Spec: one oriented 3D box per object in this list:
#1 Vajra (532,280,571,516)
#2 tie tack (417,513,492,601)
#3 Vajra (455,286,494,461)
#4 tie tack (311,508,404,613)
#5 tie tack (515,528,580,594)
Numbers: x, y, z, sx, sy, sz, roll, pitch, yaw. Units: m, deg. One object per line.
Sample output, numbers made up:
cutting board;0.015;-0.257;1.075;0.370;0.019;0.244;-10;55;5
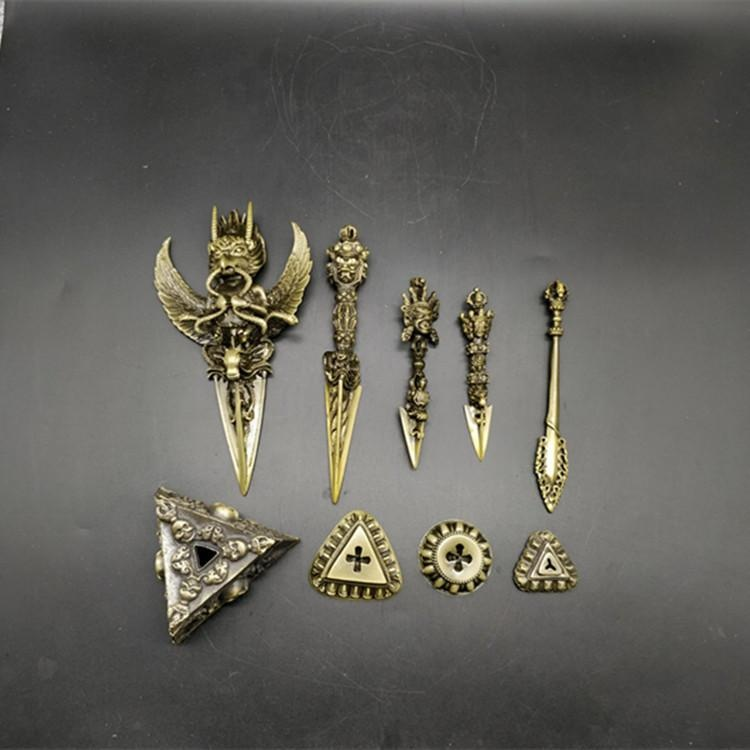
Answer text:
Vajra;0.652;0.075;6.432;0.136;0.812;0.208;4;10;5
tie tack;0.282;0.666;6.374;0.230;0.296;0.052;-1;1;-5
Vajra;0.384;-0.001;6.422;0.120;0.634;0.086;-1;-6;-2
tie tack;-0.066;0.681;6.365;0.281;0.357;0.066;2;-2;-1
tie tack;0.616;0.675;6.386;0.231;0.218;0.059;3;10;-5
